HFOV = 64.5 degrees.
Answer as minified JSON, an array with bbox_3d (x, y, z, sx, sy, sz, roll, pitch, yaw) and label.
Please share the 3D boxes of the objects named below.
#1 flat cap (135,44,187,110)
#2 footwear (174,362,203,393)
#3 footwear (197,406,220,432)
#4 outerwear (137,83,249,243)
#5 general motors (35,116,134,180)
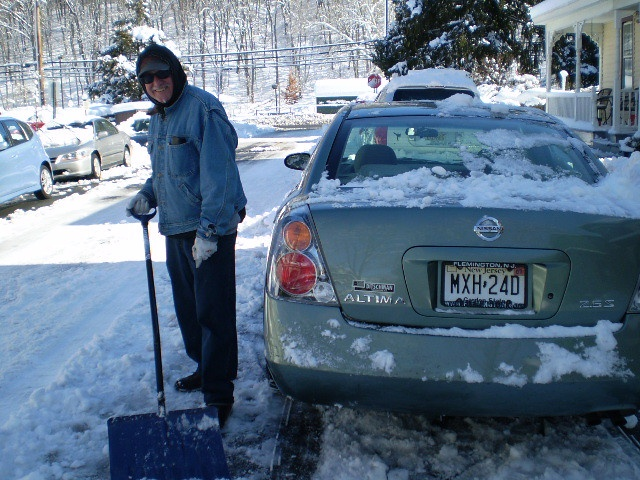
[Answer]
[{"bbox_3d":[-0.898,-0.974,3.006,0.248,0.390,0.365,-9,-14,3],"label":"flat cap"},{"bbox_3d":[-0.861,0.943,3.436,0.261,0.202,0.109,3,1,-8],"label":"footwear"},{"bbox_3d":[-0.586,0.958,2.747,0.115,0.125,0.033,4,-10,5],"label":"footwear"},{"bbox_3d":[-0.826,-0.520,3.164,0.928,0.957,0.554,8,14,42],"label":"outerwear"},{"bbox_3d":[-6.058,-2.381,13.171,0.937,0.916,2.367,-1,4,8],"label":"general motors"}]
